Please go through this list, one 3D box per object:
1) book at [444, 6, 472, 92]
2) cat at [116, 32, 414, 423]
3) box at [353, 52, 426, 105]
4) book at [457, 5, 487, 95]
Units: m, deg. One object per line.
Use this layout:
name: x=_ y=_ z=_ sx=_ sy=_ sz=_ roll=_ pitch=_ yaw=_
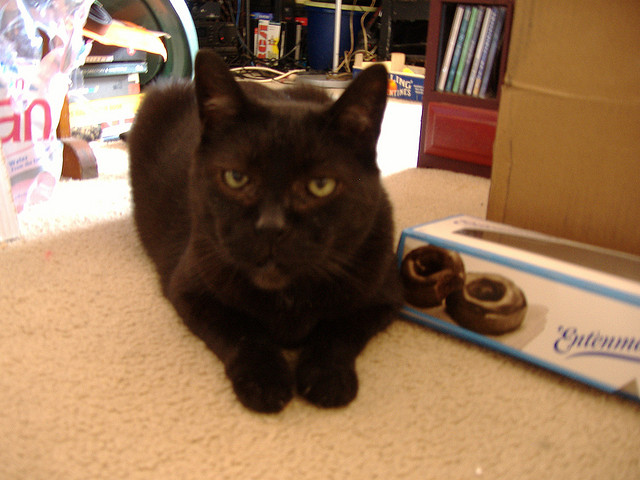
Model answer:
book: x=0.521 y=-0.713 z=2.052 sx=0.044 sy=0.208 sz=0.203 roll=13 pitch=18 yaw=4
cat: x=-0.161 y=-0.113 z=1.158 sx=0.792 sy=0.569 sz=0.443 roll=25 pitch=32 yaw=37
box: x=0.483 y=-0.936 z=3.109 sx=0.207 sy=0.266 sz=0.257 roll=6 pitch=25 yaw=5
book: x=0.570 y=-0.723 z=2.021 sx=0.028 sy=0.205 sz=0.270 roll=16 pitch=49 yaw=14
